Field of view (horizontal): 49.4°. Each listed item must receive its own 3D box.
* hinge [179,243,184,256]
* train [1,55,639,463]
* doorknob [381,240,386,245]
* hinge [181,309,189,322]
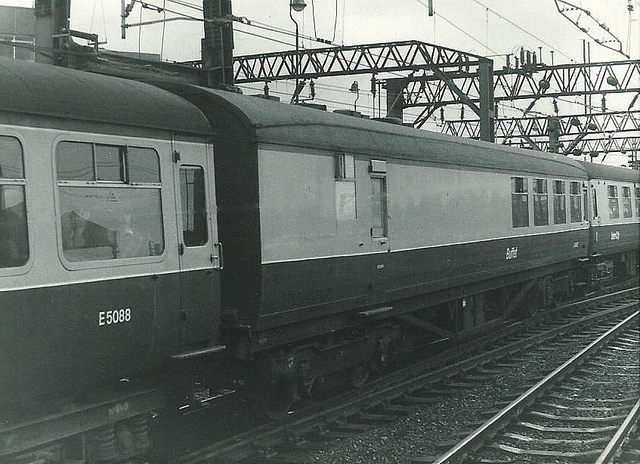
[{"bbox_3d":[-1.743,0.191,8.750,0.028,0.121,0.081,4,0,-19],"label":"hinge"},{"bbox_3d":[3.573,0.554,19.191,4.298,6.380,27.069,-3,-2,36],"label":"train"},{"bbox_3d":[1.032,0.157,11.449,0.057,0.056,0.063,-10,1,-19],"label":"doorknob"},{"bbox_3d":[-1.711,1.032,8.791,0.118,0.160,0.012,-6,10,-45],"label":"hinge"}]
